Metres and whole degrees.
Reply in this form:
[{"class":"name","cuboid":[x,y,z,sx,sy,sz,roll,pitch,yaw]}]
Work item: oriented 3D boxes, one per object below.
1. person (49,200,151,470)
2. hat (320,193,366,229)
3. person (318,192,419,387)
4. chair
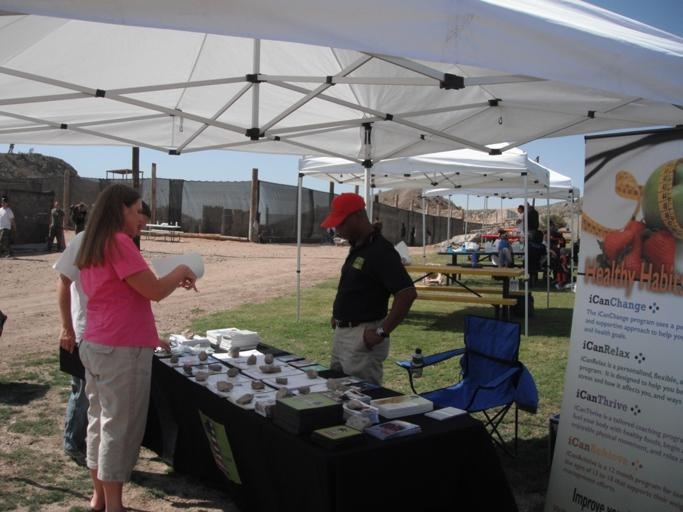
[{"class":"person","cuboid":[-1.784,0.685,4.550,1.049,2.283,0.949,0,10,-32]},{"class":"hat","cuboid":[0.015,-0.359,4.484,0.311,0.277,0.327,5,4,4]},{"class":"person","cuboid":[0.185,0.289,4.514,0.770,1.533,0.531,0,0,-27]},{"class":"chair","cuboid":[1.154,1.270,5.009,1.008,1.350,0.956,1,0,-33]}]
